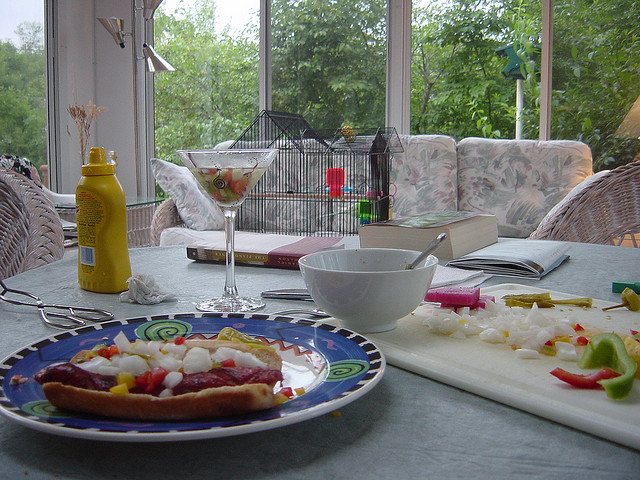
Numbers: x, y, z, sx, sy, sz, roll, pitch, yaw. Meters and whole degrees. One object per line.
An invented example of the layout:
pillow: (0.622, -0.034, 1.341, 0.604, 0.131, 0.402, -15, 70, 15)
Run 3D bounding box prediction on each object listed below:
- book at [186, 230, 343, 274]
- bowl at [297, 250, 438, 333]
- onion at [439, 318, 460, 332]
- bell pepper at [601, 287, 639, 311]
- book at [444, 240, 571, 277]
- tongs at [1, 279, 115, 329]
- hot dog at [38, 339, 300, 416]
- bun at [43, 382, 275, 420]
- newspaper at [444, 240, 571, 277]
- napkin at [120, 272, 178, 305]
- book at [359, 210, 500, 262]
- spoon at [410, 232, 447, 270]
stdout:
book: (-0.140, 0.021, 0.993, 0.282, 0.039, 0.194, 3, 11, 19)
bowl: (0.070, 0.061, 0.586, 0.135, 0.057, 0.139, -1, -1, 0)
onion: (0.155, 0.102, 0.555, 0.020, 0.015, 0.014, 8, -5, 10)
bell pepper: (0.415, 0.081, 0.655, 0.054, 0.027, 0.028, -11, 12, -8)
book: (0.415, 0.029, 1.011, 0.208, 0.026, 0.296, 4, 10, 43)
tongs: (-0.417, 0.092, 0.677, 0.279, 0.028, 0.069, 5, 12, 30)
hot dog: (-0.134, 0.099, 0.385, 0.175, 0.036, 0.088, 1, 6, 4)
bun: (-0.125, 0.123, 0.353, 0.175, 0.028, 0.020, -2, 12, -1)
newspaper: (0.419, 0.026, 1.011, 0.181, 0.029, 0.347, 6, 13, 36)
napkin: (-0.273, 0.071, 0.723, 0.058, 0.028, 0.065, 1, 4, -2)
book: (0.240, -0.007, 0.986, 0.188, 0.053, 0.176, 2, 7, 32)
spoon: (0.168, 0.005, 0.685, 0.024, 0.018, 0.117, 25, 44, 20)
